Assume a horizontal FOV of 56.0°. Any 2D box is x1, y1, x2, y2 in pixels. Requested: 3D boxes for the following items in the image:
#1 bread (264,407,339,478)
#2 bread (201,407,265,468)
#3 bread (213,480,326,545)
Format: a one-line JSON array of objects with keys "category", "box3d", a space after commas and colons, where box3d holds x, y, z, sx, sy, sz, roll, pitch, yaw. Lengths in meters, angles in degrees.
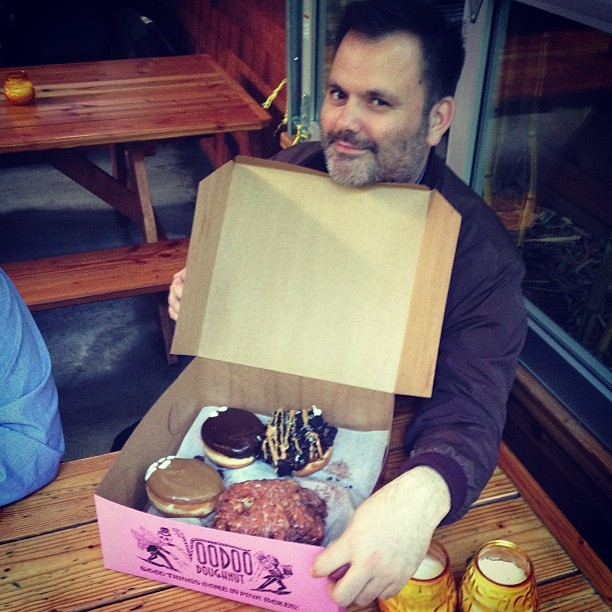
[{"category": "bread", "box3d": [-0.016, 0.291, 1.261, 0.161, 0.045, 0.150, -19, 48, 2]}, {"category": "bread", "box3d": [-0.158, 0.283, 1.245, 0.122, 0.035, 0.115, 17, 27, 27]}, {"category": "bread", "box3d": [-0.034, 0.355, 1.048, 0.144, 0.042, 0.142, -32, 11, -18]}]
